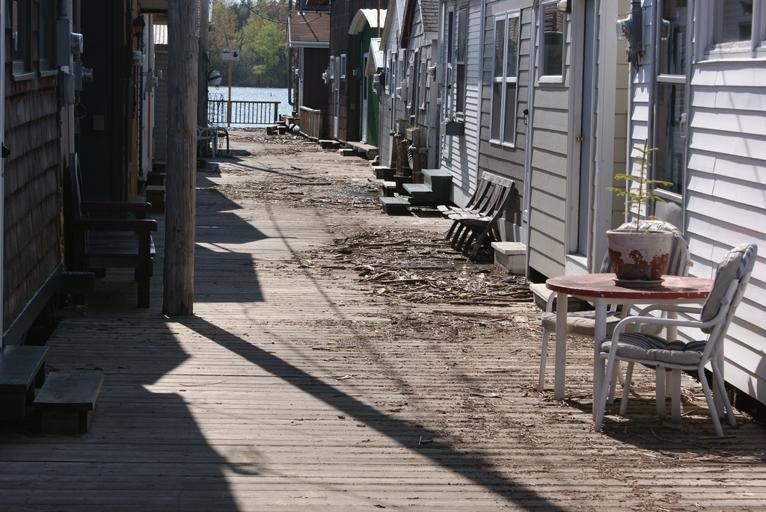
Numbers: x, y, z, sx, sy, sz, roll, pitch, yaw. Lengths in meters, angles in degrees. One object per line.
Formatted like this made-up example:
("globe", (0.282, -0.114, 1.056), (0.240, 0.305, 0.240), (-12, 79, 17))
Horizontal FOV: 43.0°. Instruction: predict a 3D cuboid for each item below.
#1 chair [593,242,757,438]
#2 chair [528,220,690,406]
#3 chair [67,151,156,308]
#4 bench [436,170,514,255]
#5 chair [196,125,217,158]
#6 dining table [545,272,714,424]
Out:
("chair", (2.067, 0.561, 6.863), (0.955, 1.316, 0.773), (3, 4, 25))
("chair", (1.640, 0.350, 7.872), (1.256, 1.907, 1.183), (1, 2, -25))
("chair", (-2.770, -0.286, 9.959), (0.932, 1.267, 1.609), (3, 9, -12))
("bench", (1.189, -0.560, 12.495), (0.697, 0.989, 1.474), (1, 9, -8))
("chair", (-4.530, -2.897, 24.144), (0.690, 0.800, 0.657), (0, 8, 0))
("dining table", (1.731, 0.735, 7.115), (1.039, 0.800, 1.070), (-2, 11, -5))
